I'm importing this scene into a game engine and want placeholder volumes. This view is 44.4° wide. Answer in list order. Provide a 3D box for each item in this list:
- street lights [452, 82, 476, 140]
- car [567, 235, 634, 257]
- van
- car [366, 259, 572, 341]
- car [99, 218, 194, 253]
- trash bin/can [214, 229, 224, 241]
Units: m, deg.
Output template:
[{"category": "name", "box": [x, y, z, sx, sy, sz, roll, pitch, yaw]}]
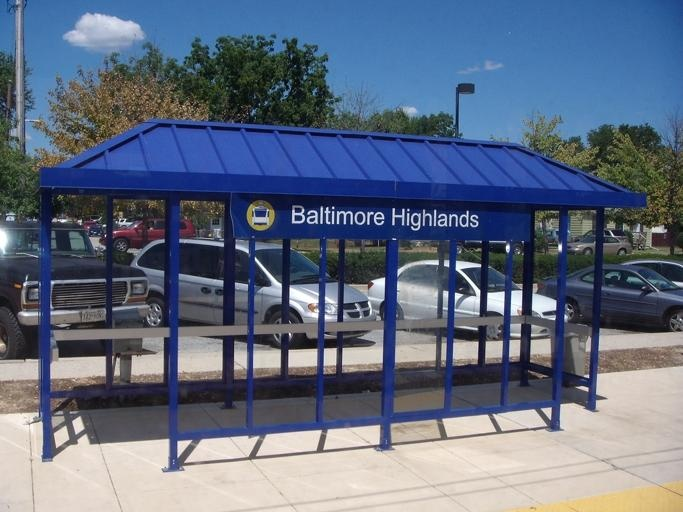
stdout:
[{"category": "street lights", "box": [3.122, -3.727, 21.547, 0.416, 1.335, 0.359, 3, 2, 19]}, {"category": "car", "box": [11.272, -0.422, 36.682, 2.624, 0.857, 1.026, 2, 0, -26]}, {"category": "van", "box": [-1.667, 0.529, 15.185, 4.178, 1.609, 2.004, 0, -1, 23]}, {"category": "car", "box": [1.777, 0.814, 12.740, 3.245, 1.117, 1.417, 2, 2, 15]}, {"category": "car", "box": [-5.685, -0.607, 24.437, 3.137, 1.274, 1.494, 1, 4, 13]}, {"category": "trash bin/can", "box": [-2.262, -0.392, 15.470, 0.229, 0.237, 0.238, -1, 6, -12]}]
